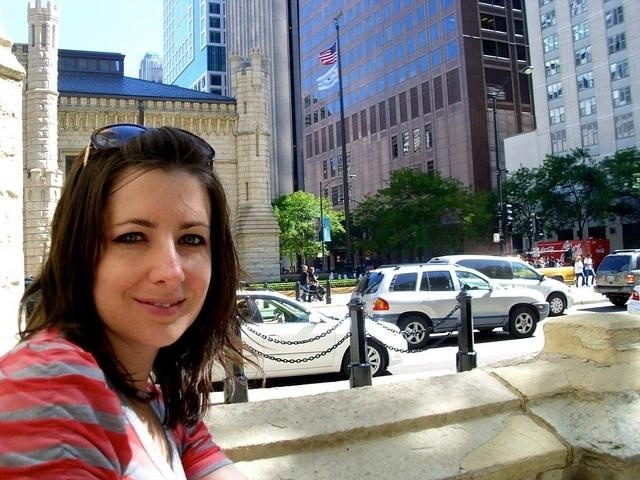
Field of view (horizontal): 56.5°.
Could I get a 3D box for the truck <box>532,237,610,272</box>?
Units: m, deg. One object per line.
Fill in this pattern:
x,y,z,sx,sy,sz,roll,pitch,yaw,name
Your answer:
16.463,0.981,38.533,3.383,1.849,1.685,-3,-12,10,truck

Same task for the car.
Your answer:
0.061,1.405,8.338,3.222,1.062,1.360,-1,-4,-14,car
